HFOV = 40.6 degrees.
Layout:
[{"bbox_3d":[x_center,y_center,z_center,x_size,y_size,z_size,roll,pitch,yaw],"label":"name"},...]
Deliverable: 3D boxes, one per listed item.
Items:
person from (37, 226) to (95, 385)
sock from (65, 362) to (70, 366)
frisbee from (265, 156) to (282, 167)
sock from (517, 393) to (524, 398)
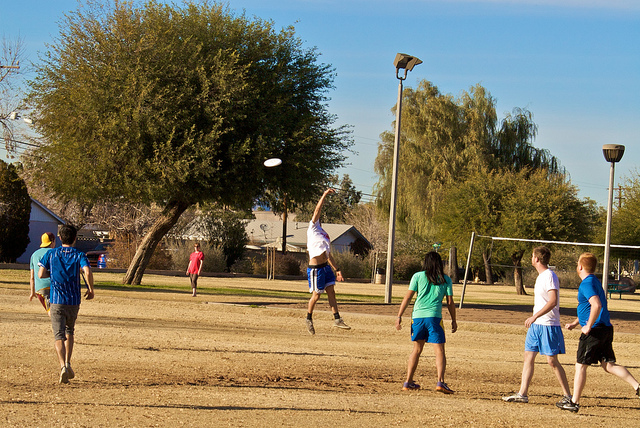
[{"bbox_3d":[-6.347,2.231,21.806,1.095,3.808,1.392,-1,6,-37],"label":"person"},{"bbox_3d":[-6.267,3.708,21.400,0.063,0.086,0.088,-2,-2,37],"label":"sock"},{"bbox_3d":[-1.730,-1.879,31.522,0.566,0.154,0.607,-3,11,7],"label":"frisbee"},{"bbox_3d":[4.994,4.511,21.493,0.109,0.087,0.042,6,6,26],"label":"sock"}]
